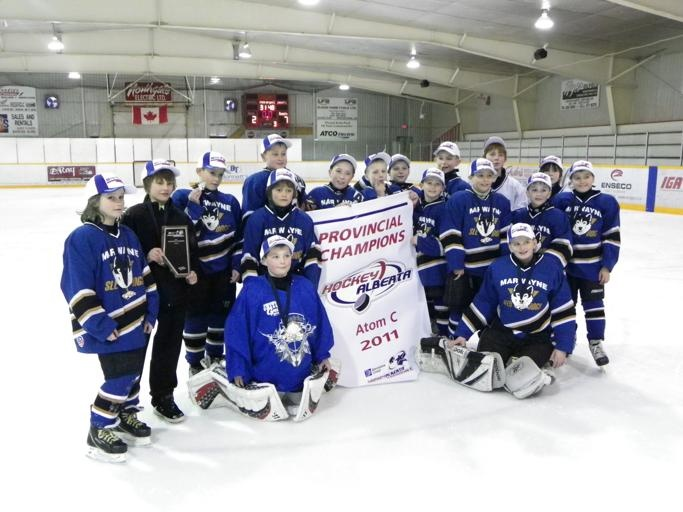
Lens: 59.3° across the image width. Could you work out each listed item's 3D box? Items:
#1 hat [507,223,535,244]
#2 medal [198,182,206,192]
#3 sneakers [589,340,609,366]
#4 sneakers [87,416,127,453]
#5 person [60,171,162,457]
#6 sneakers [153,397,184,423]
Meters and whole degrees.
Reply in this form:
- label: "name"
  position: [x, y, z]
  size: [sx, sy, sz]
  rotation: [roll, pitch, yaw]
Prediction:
- label: "hat"
  position: [1.763, -0.230, 5.921]
  size: [0.207, 0.173, 0.225]
  rotation: [-11, 15, -43]
- label: "medal"
  position: [-1.429, -0.702, 6.031]
  size: [0.088, 0.088, 0.089]
  rotation: [3, -4, 21]
- label: "sneakers"
  position: [2.723, 1.051, 6.424]
  size: [0.113, 0.156, 0.366]
  rotation: [-25, 16, 21]
- label: "sneakers"
  position: [-1.932, 1.530, 4.971]
  size: [0.457, 0.264, 0.171]
  rotation: [3, 1, 32]
- label: "person"
  position: [-1.951, 0.467, 5.009]
  size: [0.551, 2.284, 0.674]
  rotation: [3, 12, 19]
- label: "sneakers"
  position: [-1.564, 1.393, 5.402]
  size: [0.368, 0.167, 0.146]
  rotation: [9, 13, 39]
